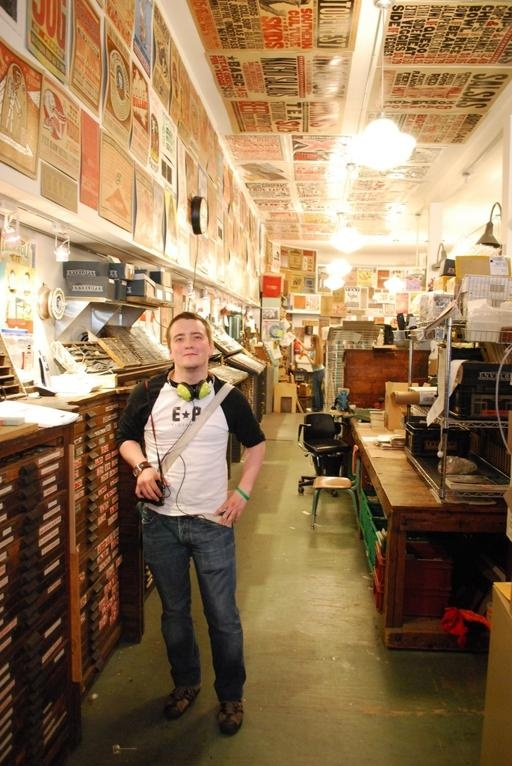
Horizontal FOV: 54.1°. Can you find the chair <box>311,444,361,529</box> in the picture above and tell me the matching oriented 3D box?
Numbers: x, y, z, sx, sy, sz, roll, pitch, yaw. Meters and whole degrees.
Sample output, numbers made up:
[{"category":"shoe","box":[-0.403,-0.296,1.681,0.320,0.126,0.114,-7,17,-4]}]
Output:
[{"category":"chair","box":[0.719,0.900,4.480,0.457,0.688,0.484,2,1,0]}]

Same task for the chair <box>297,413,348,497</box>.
[{"category":"chair","box":[0.791,0.784,5.729,0.553,0.866,0.575,1,2,3]}]

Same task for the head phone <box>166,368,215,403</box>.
[{"category":"head phone","box":[-0.235,-0.012,1.830,0.166,0.075,0.199,-1,32,-18]}]

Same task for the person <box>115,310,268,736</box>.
[{"category":"person","box":[-0.245,0.519,1.888,0.548,1.557,0.347,1,1,-17]}]

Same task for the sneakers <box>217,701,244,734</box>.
[{"category":"sneakers","box":[-0.099,1.241,1.849,0.051,0.053,0.120,1,-11,1]}]
